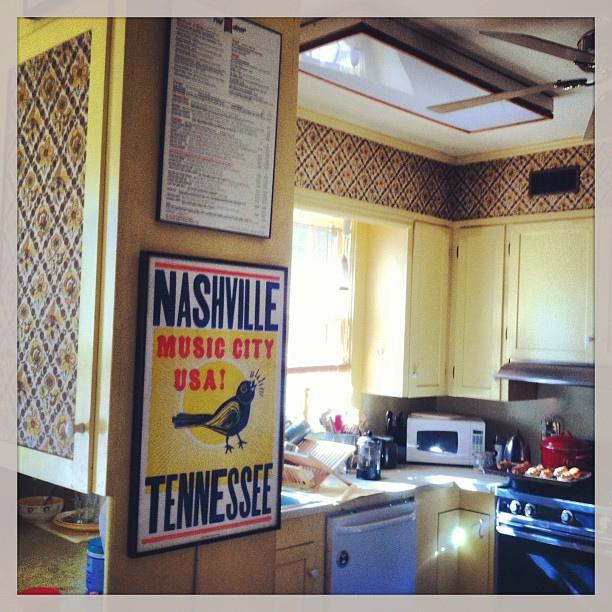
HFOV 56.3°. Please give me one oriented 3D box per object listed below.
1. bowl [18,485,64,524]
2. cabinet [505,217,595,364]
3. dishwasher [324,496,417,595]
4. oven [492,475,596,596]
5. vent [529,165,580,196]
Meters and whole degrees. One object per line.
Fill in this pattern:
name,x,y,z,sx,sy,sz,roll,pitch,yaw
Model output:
bowl,-0.890,0.675,1.953,0.123,0.111,0.160,3,1,-18
cabinet,1.346,-0.074,3.117,0.320,0.815,0.492,4,-3,-44
dishwasher,0.295,1.094,2.531,0.091,0.415,0.574,-6,-10,44
oven,1.113,1.128,2.731,0.481,0.570,0.388,-3,-8,27
vent,1.398,-0.704,3.225,0.272,0.162,0.021,-6,-9,39
